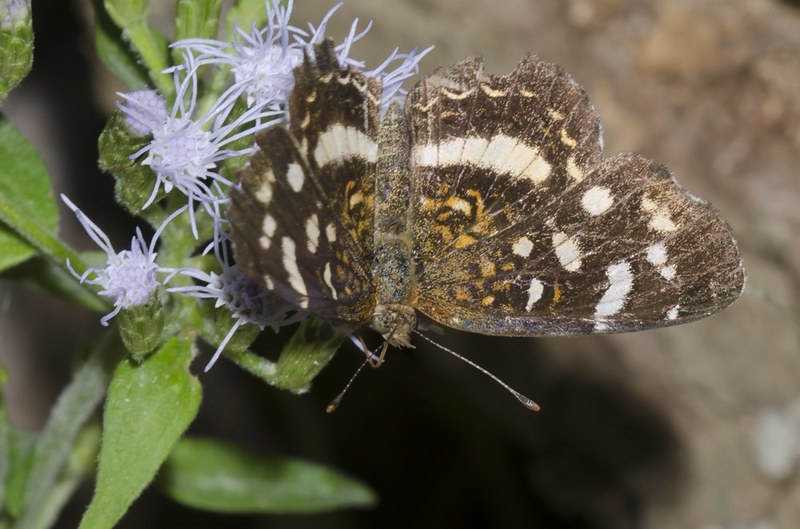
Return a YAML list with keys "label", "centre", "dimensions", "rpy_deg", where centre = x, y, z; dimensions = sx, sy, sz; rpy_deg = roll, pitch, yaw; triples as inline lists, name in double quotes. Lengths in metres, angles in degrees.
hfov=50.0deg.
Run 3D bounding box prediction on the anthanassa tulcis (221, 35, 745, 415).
- label: "anthanassa tulcis"
  centre: [-0.009, -0.067, 2.108]
  dimensions: [1.384, 0.789, 0.638]
  rpy_deg: [6, 32, 25]
